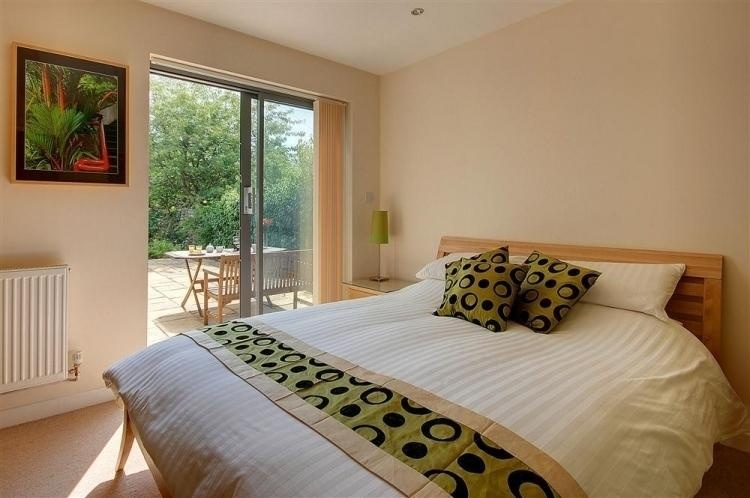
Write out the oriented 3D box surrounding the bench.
[{"bbox_3d":[-1.165,0.368,4.667,0.911,0.606,0.353,-3,7,-34],"label":"bench"}]
